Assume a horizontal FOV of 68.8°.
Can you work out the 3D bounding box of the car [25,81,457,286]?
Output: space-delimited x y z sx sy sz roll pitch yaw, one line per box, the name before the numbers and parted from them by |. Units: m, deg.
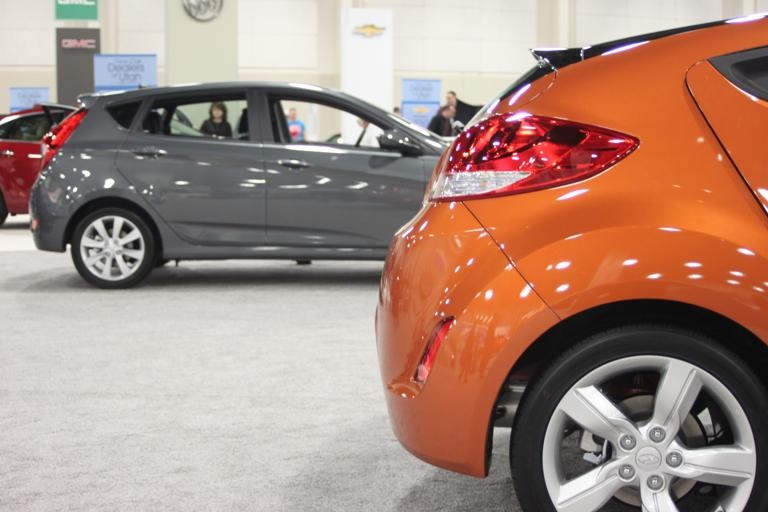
car | -1.708 -0.913 6.981 4.558 1.778 2.289 -2 5 -6
